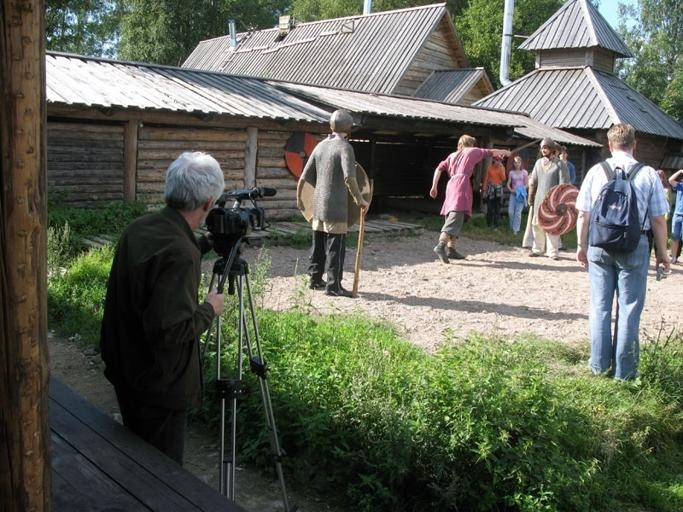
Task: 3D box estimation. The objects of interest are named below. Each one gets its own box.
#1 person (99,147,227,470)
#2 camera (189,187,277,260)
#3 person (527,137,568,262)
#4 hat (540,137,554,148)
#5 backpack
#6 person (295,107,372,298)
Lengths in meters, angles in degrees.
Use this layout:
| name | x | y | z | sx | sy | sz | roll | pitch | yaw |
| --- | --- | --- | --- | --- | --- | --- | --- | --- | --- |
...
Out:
| name | x | y | z | sx | sy | sz | roll | pitch | yaw |
| --- | --- | --- | --- | --- | --- | --- | --- | --- | --- |
| person | -1.140 | 0.362 | 4.951 | 0.755 | 2.094 | 0.464 | 3 | 6 | -21 |
| camera | -0.715 | -0.253 | 5.483 | 0.491 | 0.504 | 0.798 | 4 | 9 | 11 |
| person | 3.527 | -0.977 | 13.034 | 0.642 | 2.042 | 1.343 | 6 | 6 | 14 |
| hat | 3.463 | -1.904 | 12.697 | 0.217 | 0.173 | 0.319 | 8 | 7 | 15 |
| backpack | 2.548 | -0.450 | 7.007 | 0.456 | 0.862 | 0.338 | 8 | 6 | 24 |
| person | -0.107 | -0.682 | 9.498 | 0.595 | 2.328 | 1.041 | 2 | 7 | -31 |
